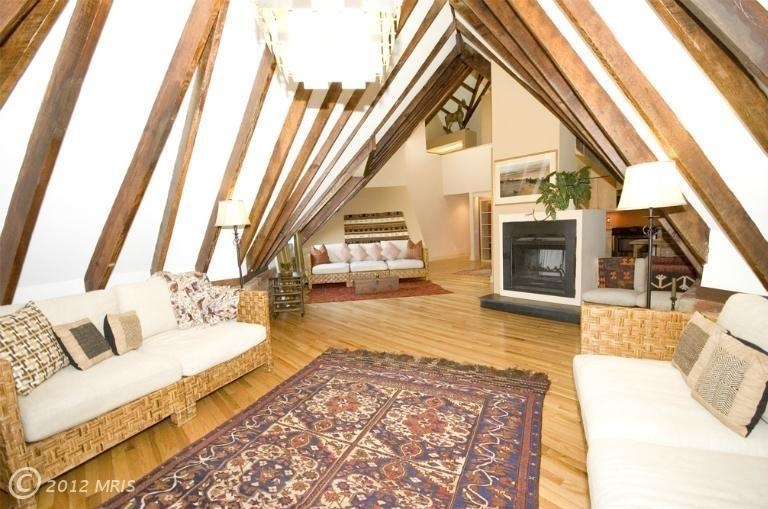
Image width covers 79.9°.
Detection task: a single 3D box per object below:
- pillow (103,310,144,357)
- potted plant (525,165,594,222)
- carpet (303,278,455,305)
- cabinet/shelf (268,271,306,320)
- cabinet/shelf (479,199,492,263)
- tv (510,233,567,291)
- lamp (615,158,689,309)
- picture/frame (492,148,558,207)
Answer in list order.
[{"bbox_3d":[-2.157,0.657,3.787,0.176,0.318,0.325,-20,-4,11],"label":"pillow"},{"bbox_3d":[2.179,-0.731,5.557,0.591,0.607,0.274,1,9,21],"label":"potted plant"},{"bbox_3d":[-0.160,0.587,7.732,2.234,0.067,1.593,-3,7,-4],"label":"carpet"},{"bbox_3d":[-1.298,0.540,6.372,0.634,0.614,0.575,1,15,-2],"label":"cabinet/shelf"},{"bbox_3d":[2.409,-0.600,10.935,0.243,1.416,0.513,-2,9,7],"label":"cabinet/shelf"},{"bbox_3d":[1.996,0.083,5.835,0.677,0.629,0.371,6,11,39],"label":"tv"},{"bbox_3d":[2.255,-0.129,3.867,0.461,1.264,0.958,3,10,31],"label":"lamp"},{"bbox_3d":[1.866,-1.007,5.939,0.030,0.596,0.855,-11,13,-43],"label":"picture/frame"}]
